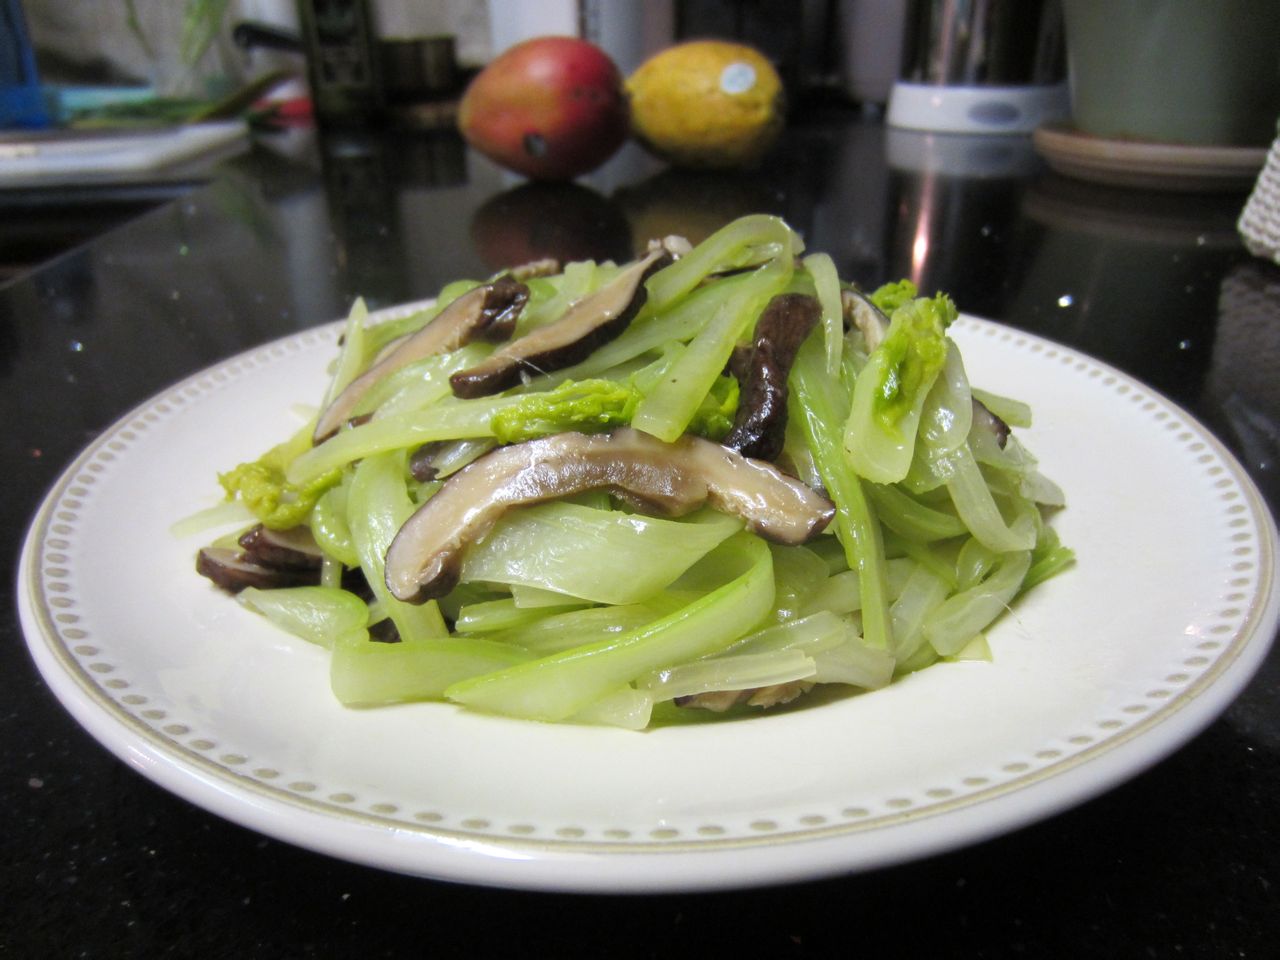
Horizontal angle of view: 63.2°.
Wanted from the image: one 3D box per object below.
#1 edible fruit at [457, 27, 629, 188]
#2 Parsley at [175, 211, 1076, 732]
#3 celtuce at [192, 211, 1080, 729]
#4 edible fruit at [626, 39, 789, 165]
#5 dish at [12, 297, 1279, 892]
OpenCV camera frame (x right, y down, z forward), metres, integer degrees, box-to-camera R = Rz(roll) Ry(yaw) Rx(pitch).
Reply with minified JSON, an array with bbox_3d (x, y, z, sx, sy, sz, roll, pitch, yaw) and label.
[{"bbox_3d":[-0.296,-1.082,2.987,0.338,0.369,0.566,-13,29,-29],"label":"edible fruit"},{"bbox_3d":[0.006,-0.027,1.386,0.713,0.236,0.758,1,28,2],"label":"Parsley"},{"bbox_3d":[0.076,-0.169,1.421,0.994,0.631,0.672,8,21,26],"label":"celtuce"},{"bbox_3d":[0.217,-1.104,3.202,0.504,0.352,0.376,7,22,25],"label":"edible fruit"},{"bbox_3d":[-0.023,0.075,1.256,1.483,0.204,0.931,7,43,6],"label":"dish"}]
